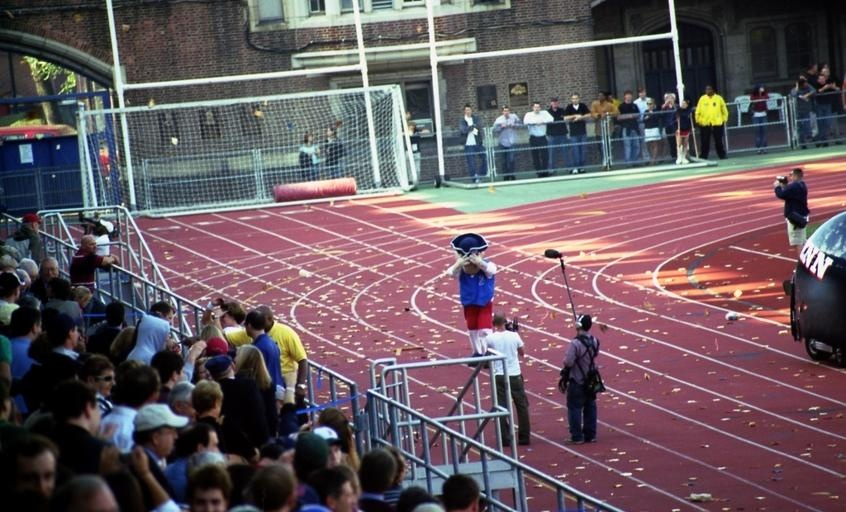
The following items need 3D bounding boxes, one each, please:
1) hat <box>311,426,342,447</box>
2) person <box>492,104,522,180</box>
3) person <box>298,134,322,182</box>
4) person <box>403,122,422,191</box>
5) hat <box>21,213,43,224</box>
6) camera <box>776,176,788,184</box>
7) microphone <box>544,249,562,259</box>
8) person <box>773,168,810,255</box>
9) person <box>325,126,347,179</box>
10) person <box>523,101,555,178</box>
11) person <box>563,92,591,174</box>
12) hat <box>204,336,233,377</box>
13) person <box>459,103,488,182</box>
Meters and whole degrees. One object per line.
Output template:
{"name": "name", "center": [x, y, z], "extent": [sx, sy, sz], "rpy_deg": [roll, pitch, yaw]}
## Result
{"name": "hat", "center": [-1.965, 3.624, 31.357], "extent": [0.481, 0.364, 1.020], "rpy_deg": [-3, 6, 10]}
{"name": "person", "center": [2.817, -3.694, 52.590], "extent": [0.886, 2.346, 0.504], "rpy_deg": [-5, 7, 2]}
{"name": "person", "center": [-3.763, -3.392, 52.517], "extent": [0.796, 2.103, 0.617], "rpy_deg": [-16, 43, -18]}
{"name": "person", "center": [-0.352, -3.446, 53.364], "extent": [0.343, 2.238, 0.801], "rpy_deg": [-3, 7, 18]}
{"name": "hat", "center": [-10.107, -0.957, 40.573], "extent": [0.385, 0.272, 0.642], "rpy_deg": [20, 11, 40]}
{"name": "camera", "center": [9.822, -2.079, 43.231], "extent": [0.342, 0.191, 0.433], "rpy_deg": [-4, 4, -15]}
{"name": "microphone", "center": [3.077, -0.033, 38.044], "extent": [0.578, 0.213, 0.214], "rpy_deg": [8, 22, 45]}
{"name": "person", "center": [10.251, -1.260, 43.565], "extent": [0.796, 2.281, 1.279], "rpy_deg": [-3, 7, 13]}
{"name": "person", "center": [-2.980, -3.425, 52.694], "extent": [0.675, 1.569, 0.512], "rpy_deg": [-5, 7, -1]}
{"name": "person", "center": [3.894, -3.851, 52.747], "extent": [0.937, 2.463, 0.483], "rpy_deg": [-5, 7, 2]}
{"name": "person", "center": [5.188, -4.050, 52.699], "extent": [0.786, 2.592, 0.670], "rpy_deg": [-5, 7, 3]}
{"name": "hat", "center": [-4.392, 2.178, 33.365], "extent": [0.695, 0.472, 1.075], "rpy_deg": [3, 35, -1]}
{"name": "person", "center": [1.672, -3.747, 52.797], "extent": [0.820, 2.573, 0.451], "rpy_deg": [-5, 7, 3]}
